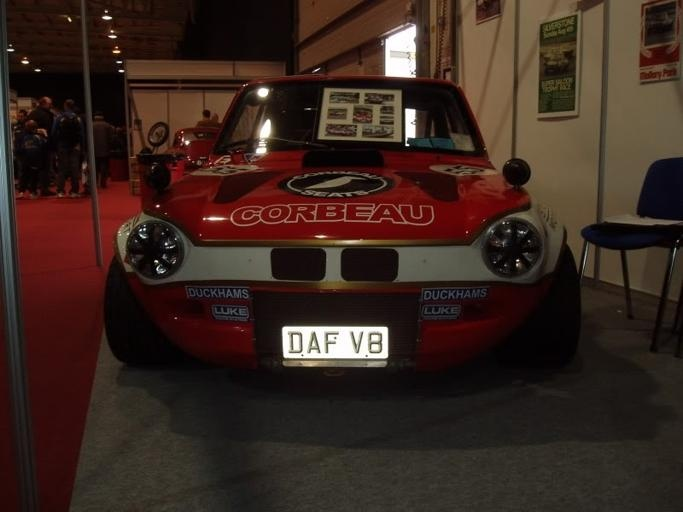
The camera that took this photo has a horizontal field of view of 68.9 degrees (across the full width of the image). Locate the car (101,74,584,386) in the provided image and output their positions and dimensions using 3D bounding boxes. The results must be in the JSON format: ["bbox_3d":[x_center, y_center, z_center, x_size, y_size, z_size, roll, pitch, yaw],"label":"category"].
[{"bbox_3d":[0.041,-0.362,3.101,1.564,1.092,2.450,1,3,2],"label":"car"}]
